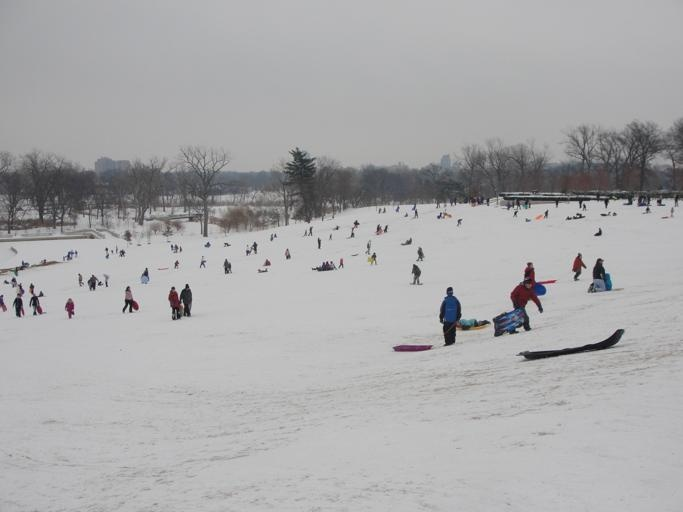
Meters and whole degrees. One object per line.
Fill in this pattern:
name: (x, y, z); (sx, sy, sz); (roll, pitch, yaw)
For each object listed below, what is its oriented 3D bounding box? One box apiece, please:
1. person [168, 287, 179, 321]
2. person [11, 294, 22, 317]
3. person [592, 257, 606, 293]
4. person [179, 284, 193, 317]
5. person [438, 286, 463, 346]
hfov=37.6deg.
person: (-7.822, 2.156, 47.117); (0.506, 1.333, 1.626); (-6, 9, -9)
person: (-16.187, 2.481, 50.038); (0.412, 1.006, 1.514); (-8, 10, -19)
person: (11.417, 0.789, 44.222); (0.568, 1.371, 0.669); (-2, 10, 15)
person: (-7.429, 2.018, 47.714); (0.527, 1.430, 1.733); (-6, 9, -9)
person: (4.268, 2.355, 39.397); (0.732, 2.345, 0.737); (-8, 10, -23)
